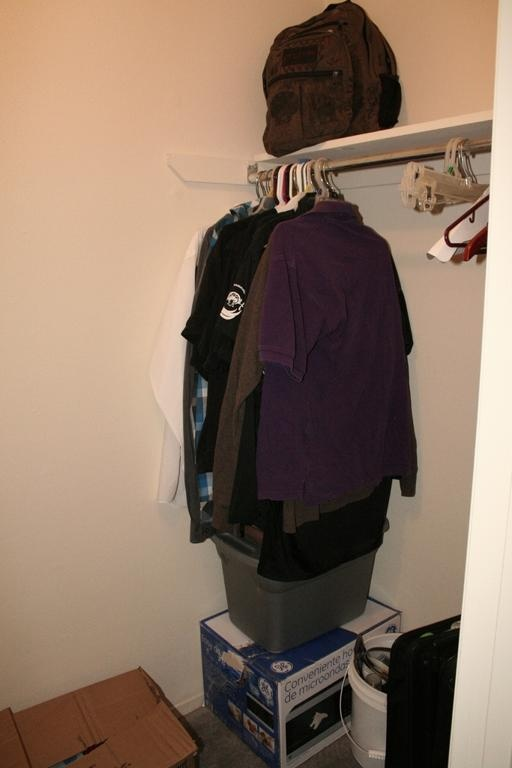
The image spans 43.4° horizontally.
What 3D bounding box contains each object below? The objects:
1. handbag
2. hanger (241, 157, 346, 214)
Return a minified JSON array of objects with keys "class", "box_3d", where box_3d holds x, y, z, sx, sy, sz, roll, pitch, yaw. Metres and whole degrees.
[{"class":"handbag","box_3d":[0.179,-0.813,1.785,0.403,0.421,0.308,-27,22,-37]},{"class":"hanger","box_3d":[0.088,-0.510,1.666,0.257,0.122,0.167,4,16,25]}]
